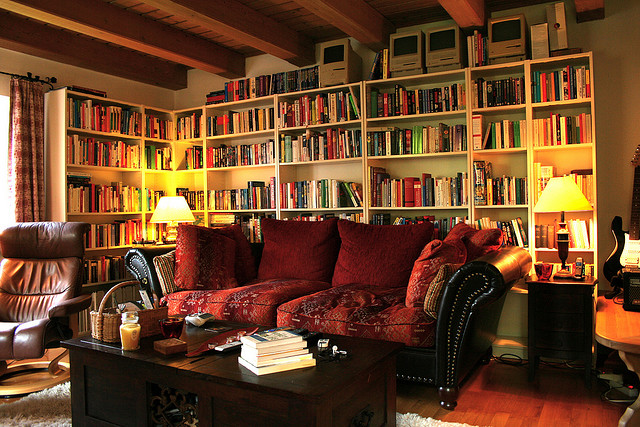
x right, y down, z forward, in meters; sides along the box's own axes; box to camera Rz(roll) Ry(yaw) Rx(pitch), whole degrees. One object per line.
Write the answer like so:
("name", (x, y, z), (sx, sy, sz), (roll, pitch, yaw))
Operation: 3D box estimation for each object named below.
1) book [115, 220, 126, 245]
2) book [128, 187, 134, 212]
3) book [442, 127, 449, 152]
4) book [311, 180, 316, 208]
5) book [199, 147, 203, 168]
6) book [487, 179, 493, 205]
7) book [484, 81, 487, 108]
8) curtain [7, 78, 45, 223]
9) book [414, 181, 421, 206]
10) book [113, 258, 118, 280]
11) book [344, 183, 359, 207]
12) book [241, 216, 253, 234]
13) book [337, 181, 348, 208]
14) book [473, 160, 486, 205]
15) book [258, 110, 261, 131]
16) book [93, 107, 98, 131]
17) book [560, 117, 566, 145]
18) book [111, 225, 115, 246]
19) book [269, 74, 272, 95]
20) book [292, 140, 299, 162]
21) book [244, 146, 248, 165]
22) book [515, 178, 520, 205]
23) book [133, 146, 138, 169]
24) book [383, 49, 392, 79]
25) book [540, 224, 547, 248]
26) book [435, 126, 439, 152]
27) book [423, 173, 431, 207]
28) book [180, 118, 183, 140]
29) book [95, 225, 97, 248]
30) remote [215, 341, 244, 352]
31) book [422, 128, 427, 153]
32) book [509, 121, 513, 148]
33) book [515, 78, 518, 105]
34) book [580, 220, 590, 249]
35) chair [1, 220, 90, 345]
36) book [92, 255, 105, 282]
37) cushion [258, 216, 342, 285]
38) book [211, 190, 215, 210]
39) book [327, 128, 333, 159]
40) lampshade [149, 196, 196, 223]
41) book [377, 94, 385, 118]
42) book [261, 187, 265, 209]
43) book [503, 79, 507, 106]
("book", (-2.315, 0.232, 5.638), (0.155, 0.251, 0.284), (-1, 3, -36))
("book", (-2.214, -0.164, 5.752), (0.033, 0.288, 0.071), (-3, 8, -16))
("book", (1.257, -0.733, 4.851), (0.097, 0.247, 0.276), (0, 1, 16))
("book", (-0.068, -0.213, 5.381), (0.050, 0.289, 0.079), (-1, 7, 0))
("book", (-1.474, -0.700, 6.041), (0.041, 0.249, 0.111), (-3, 8, -16))
("book", (1.638, -0.210, 4.678), (0.040, 0.328, 0.271), (-1, 0, 23))
("book", (1.594, -1.148, 4.663), (0.025, 0.241, 0.045), (1, 8, 9))
("curtain", (-3.026, -0.659, 5.037), (0.422, 1.480, 0.287), (-7, 10, -39))
("book", (0.994, -0.195, 4.945), (0.091, 0.240, 0.271), (0, 1, 15))
("book", (-2.304, 0.625, 5.503), (0.031, 0.233, 0.063), (-3, 8, -16))
("book", (0.340, -0.201, 5.224), (0.169, 0.250, 0.022), (6, 10, 42))
("book", (-0.875, 0.115, 5.795), (0.140, 0.161, 0.174), (0, -3, 5))
("book", (0.240, -0.210, 5.281), (0.059, 0.225, 0.247), (-4, -5, 35))
("book", (1.547, -0.295, 4.695), (0.128, 0.409, 0.091), (0, 7, 1))
("book", (-0.701, -1.095, 5.663), (0.023, 0.234, 0.052), (-3, 8, -16))
("book", (-2.486, -1.057, 5.397), (0.050, 0.251, 0.047), (-4, 8, -24))
("book", (2.216, -0.758, 4.427), (0.025, 0.239, 0.058), (-6, 9, -33))
("book", (-2.376, 0.251, 5.586), (0.033, 0.235, 0.066), (-2, 8, -13))
("book", (-0.563, -1.492, 5.575), (0.032, 0.190, 0.017), (0, 8, 5))
("book", (-0.271, -0.703, 5.466), (0.072, 0.239, 0.069), (-1, 7, -5))
("book", (-0.873, -0.695, 5.778), (0.035, 0.215, 0.039), (-1, 8, -1))
("book", (1.870, -0.211, 4.588), (0.047, 0.181, 0.194), (3, 3, 19))
("book", (-2.194, -0.676, 5.773), (0.045, 0.253, 0.060), (-2, 8, -10))
("book", (0.698, -1.556, 5.016), (0.082, 0.310, 0.132), (0, 7, 1))
("book", (2.061, 0.215, 4.474), (0.066, 0.201, 0.031), (2, 8, 21))
("book", (1.182, -0.748, 4.881), (0.043, 0.226, 0.045), (3, 8, 25))
("book", (1.084, -0.224, 4.914), (0.058, 0.391, 0.365), (0, 2, 22))
("book", (-1.729, -1.065, 6.081), (0.023, 0.251, 0.062), (-3, 8, -20))
("book", (-2.501, 0.248, 5.442), (0.023, 0.236, 0.056), (-4, 8, -23))
("remote", (-0.549, 0.821, 2.983), (0.118, 0.024, 0.081), (1, -3, -45))
("book", (1.066, -0.746, 4.930), (0.042, 0.247, 0.052), (0, 8, 7))
("book", (1.815, -0.751, 4.608), (0.032, 0.231, 0.029), (0, 8, 8))
("book", (1.850, -1.149, 4.571), (0.027, 0.235, 0.030), (1, 8, 11))
("book", (2.381, 0.193, 4.369), (0.076, 0.244, 0.058), (0, 8, 6))
("chair", (-2.516, 0.515, 4.334), (0.754, 0.827, 0.364), (0, 7, 2))
("book", (-2.450, 0.624, 5.386), (0.158, 0.230, 0.274), (-1, 2, -34))
("cushion", (-0.210, 0.397, 4.946), (0.966, 0.604, 0.342), (1, 2, 35))
("book", (-1.303, -0.159, 5.927), (0.044, 0.168, 0.177), (3, 12, -8))
("book", (0.113, -0.757, 5.293), (0.054, 0.314, 0.070), (0, 7, 1))
("lampshade", (-1.641, -0.039, 5.373), (0.353, 0.182, 0.351), (3, 6, 38))
("book", (0.639, -1.122, 5.060), (0.050, 0.240, 0.101), (-3, 8, -15))
("book", (-0.662, -0.184, 5.672), (0.028, 0.238, 0.079), (-2, 8, -13))
("book", (1.758, -1.149, 4.605), (0.031, 0.244, 0.045), (-1, 8, -2))
